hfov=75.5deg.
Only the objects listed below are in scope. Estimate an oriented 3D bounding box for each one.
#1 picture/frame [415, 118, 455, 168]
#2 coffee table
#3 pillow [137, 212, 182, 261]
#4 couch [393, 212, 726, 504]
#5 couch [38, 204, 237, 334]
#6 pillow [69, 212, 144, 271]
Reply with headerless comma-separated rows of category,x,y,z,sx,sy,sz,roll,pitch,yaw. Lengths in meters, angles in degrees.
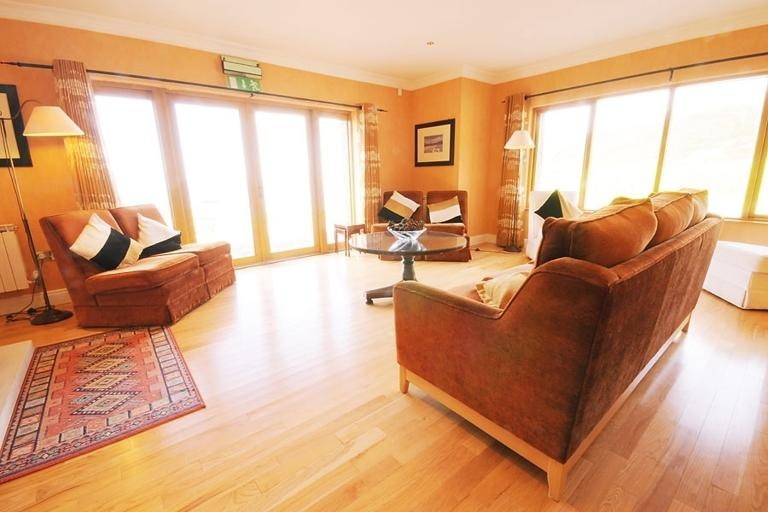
picture/frame,0.789,-1.715,7.455,0.033,0.640,0.820,-18,24,-39
coffee table,0.223,-0.095,5.229,1.034,0.562,0.961,-7,21,-19
pillow,-2.462,-0.205,5.413,0.156,0.445,0.509,-12,-2,38
couch,1.063,0.683,4.143,3.378,1.443,1.804,-15,22,-36
couch,-2.506,0.172,5.347,1.353,1.169,1.666,5,12,11
pillow,-2.719,-0.128,4.953,0.181,0.582,0.532,-16,34,35
